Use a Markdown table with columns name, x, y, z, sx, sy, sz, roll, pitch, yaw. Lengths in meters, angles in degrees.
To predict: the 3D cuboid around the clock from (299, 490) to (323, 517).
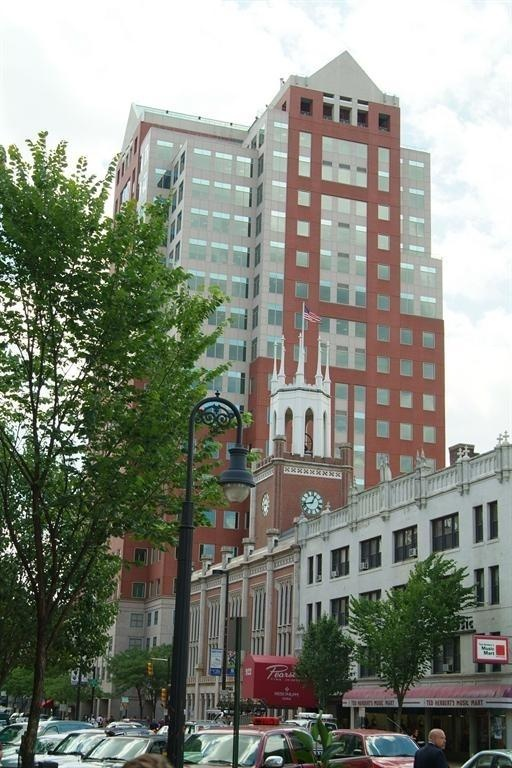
| name | x | y | z | sx | sy | sz | roll | pitch | yaw |
| --- | --- | --- | --- | --- | --- | --- | --- | --- | --- |
| clock | 3.939 | 8.366 | 73.413 | 1.851 | 2.020 | 0.653 | 15 | -23 | -33 |
